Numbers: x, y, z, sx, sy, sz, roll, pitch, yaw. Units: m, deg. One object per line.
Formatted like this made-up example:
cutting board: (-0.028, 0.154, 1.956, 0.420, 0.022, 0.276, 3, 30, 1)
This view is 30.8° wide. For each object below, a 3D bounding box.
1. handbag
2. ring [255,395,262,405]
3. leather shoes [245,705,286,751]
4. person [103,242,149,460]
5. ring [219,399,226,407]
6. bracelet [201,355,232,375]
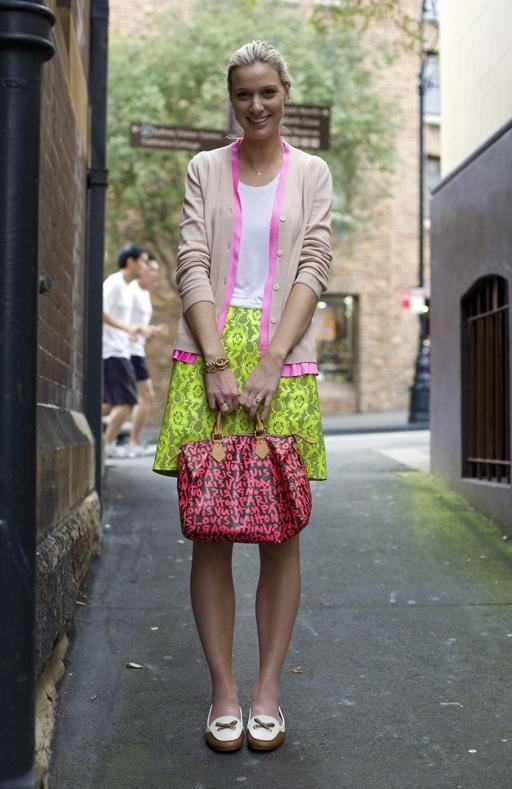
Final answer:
handbag: (-0.036, 0.198, 2.295, 0.282, 0.367, 0.117, 1, -30, -7)
ring: (0.007, 0.013, 2.334, 0.014, 0.019, 0.027, -26, 13, 8)
leather shoes: (0.032, 0.821, 2.299, 0.120, 0.079, 0.100, -2, 5, -20)
person: (-1.140, -0.357, 8.052, 0.391, 1.902, 0.947, -1, 4, -10)
ring: (-0.084, 0.021, 2.314, 0.014, 0.018, 0.008, 0, 4, 2)
bracelet: (-0.104, -0.075, 2.324, 0.069, 0.041, 0.033, 1, 4, 10)
